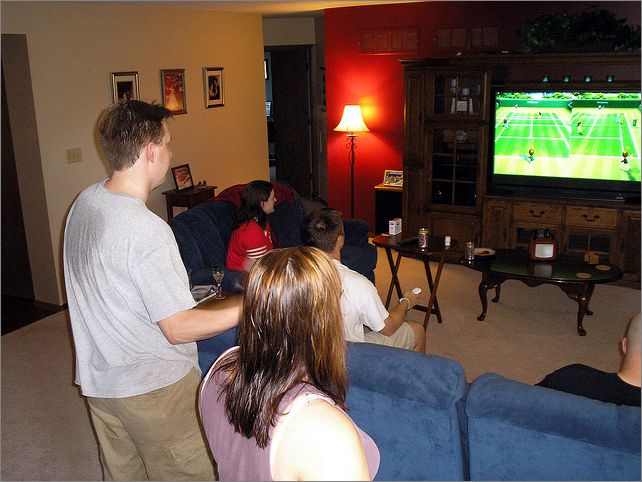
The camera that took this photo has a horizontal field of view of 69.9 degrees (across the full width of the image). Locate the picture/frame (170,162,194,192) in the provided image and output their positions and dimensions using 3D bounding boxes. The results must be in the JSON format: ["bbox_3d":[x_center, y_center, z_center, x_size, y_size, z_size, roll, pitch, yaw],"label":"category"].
[{"bbox_3d":[-1.811,-0.835,5.918,0.033,0.498,0.405,-7,-5,29],"label":"picture/frame"}]

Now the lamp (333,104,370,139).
[{"bbox_3d":[0.411,-1.696,6.303,0.426,0.324,0.427,-14,26,-31],"label":"lamp"}]

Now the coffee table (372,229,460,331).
[{"bbox_3d":[0.950,0.373,4.460,0.463,0.674,0.672,-25,33,-39],"label":"coffee table"}]

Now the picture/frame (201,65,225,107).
[{"bbox_3d":[-1.532,-2.199,6.404,0.042,0.640,0.523,9,19,26],"label":"picture/frame"}]

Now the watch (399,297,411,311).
[{"bbox_3d":[0.577,0.409,3.148,0.082,0.117,0.067,-1,-18,-8],"label":"watch"}]

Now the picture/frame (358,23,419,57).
[{"bbox_3d":[0.897,-2.676,6.091,0.806,0.380,0.035,5,16,26],"label":"picture/frame"}]

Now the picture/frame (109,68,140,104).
[{"bbox_3d":[-2.277,-1.830,5.330,0.109,0.350,0.411,2,15,16],"label":"picture/frame"}]

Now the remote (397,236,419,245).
[{"bbox_3d":[0.848,-0.023,4.419,0.069,0.061,0.335,-11,4,44],"label":"remote"}]

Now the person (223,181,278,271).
[{"bbox_3d":[-0.589,-0.132,3.649,0.331,0.767,0.477,-10,34,-30],"label":"person"}]

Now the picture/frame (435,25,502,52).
[{"bbox_3d":[1.798,-2.530,5.681,0.764,0.311,0.034,5,16,28],"label":"picture/frame"}]
